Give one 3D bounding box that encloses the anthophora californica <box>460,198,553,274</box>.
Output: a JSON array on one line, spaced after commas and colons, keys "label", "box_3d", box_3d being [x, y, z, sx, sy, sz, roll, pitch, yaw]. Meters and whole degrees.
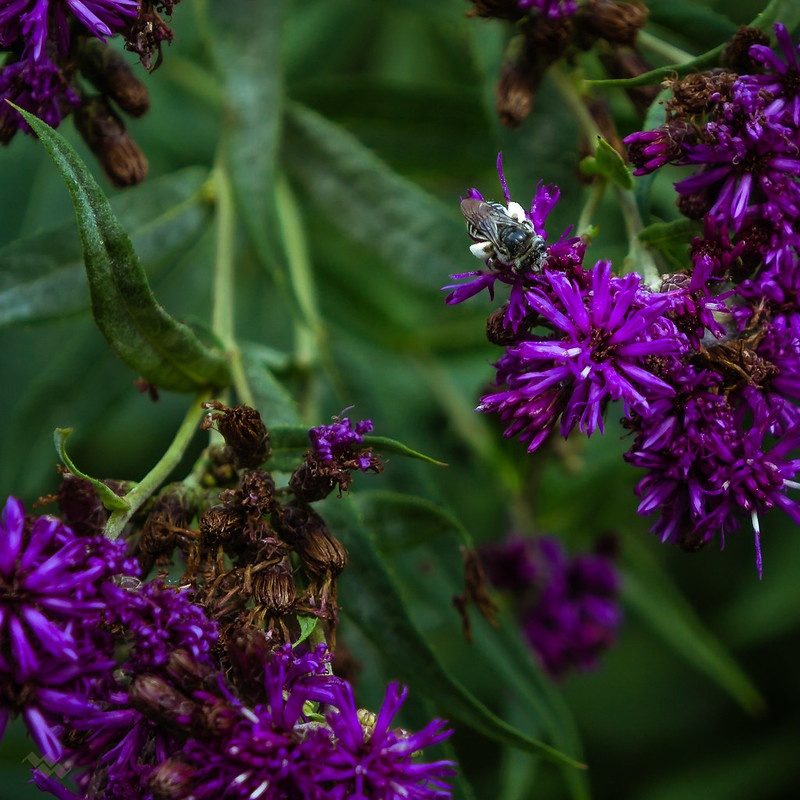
[{"label": "anthophora californica", "box_3d": [0.091, -0.145, 0.896, 0.059, 0.068, 0.050, -15, 41, -4]}]
